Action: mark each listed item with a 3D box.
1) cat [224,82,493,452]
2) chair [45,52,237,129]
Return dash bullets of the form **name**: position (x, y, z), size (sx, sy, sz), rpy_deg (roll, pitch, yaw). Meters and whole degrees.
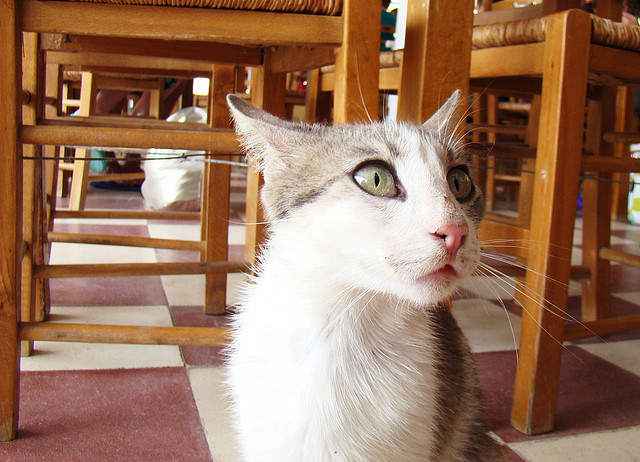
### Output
- **cat**: position (0.017, 0.152, 1.309), size (0.464, 0.727, 0.761), rpy_deg (2, -24, -15)
- **chair**: position (-0.724, -0.547, 2.355), size (0.687, 0.339, 0.482), rpy_deg (-1, 20, -20)
